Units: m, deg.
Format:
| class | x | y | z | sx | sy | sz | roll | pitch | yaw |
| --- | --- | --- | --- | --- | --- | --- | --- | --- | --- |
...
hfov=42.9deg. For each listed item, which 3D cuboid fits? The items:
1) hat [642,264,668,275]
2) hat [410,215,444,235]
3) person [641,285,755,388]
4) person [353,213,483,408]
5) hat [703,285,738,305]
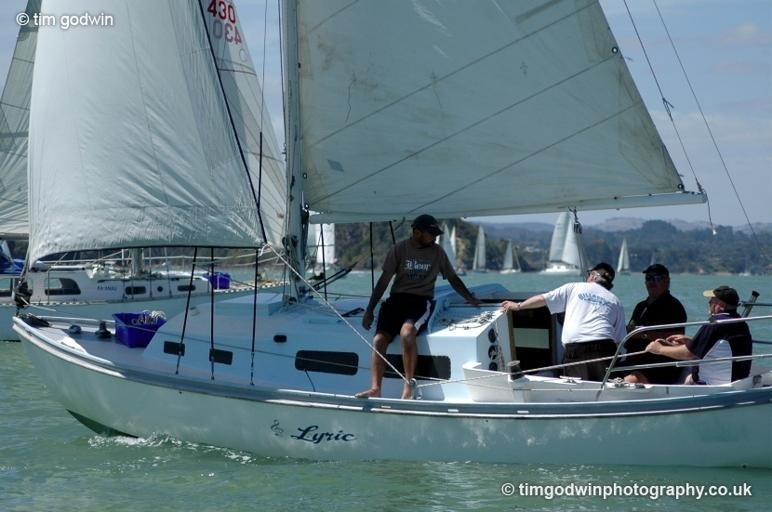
| class | x | y | z | sx | sy | sz | roll | pitch | yaw |
| --- | --- | --- | --- | --- | --- | --- | --- | --- | --- |
| hat | 3.236 | 0.156 | 11.704 | 0.199 | 0.082 | 0.142 | 4 | -5 | -13 |
| hat | 0.494 | -0.379 | 11.435 | 0.293 | 0.171 | 0.221 | 5 | 5 | 4 |
| person | 3.516 | 1.156 | 11.086 | 1.100 | 1.777 | 0.971 | 3 | 3 | 8 |
| person | 0.292 | 0.664 | 11.363 | 1.145 | 1.777 | 0.927 | -1 | 9 | 3 |
| hat | 3.706 | 0.421 | 10.845 | 0.339 | 0.189 | 0.249 | 15 | 7 | 27 |
